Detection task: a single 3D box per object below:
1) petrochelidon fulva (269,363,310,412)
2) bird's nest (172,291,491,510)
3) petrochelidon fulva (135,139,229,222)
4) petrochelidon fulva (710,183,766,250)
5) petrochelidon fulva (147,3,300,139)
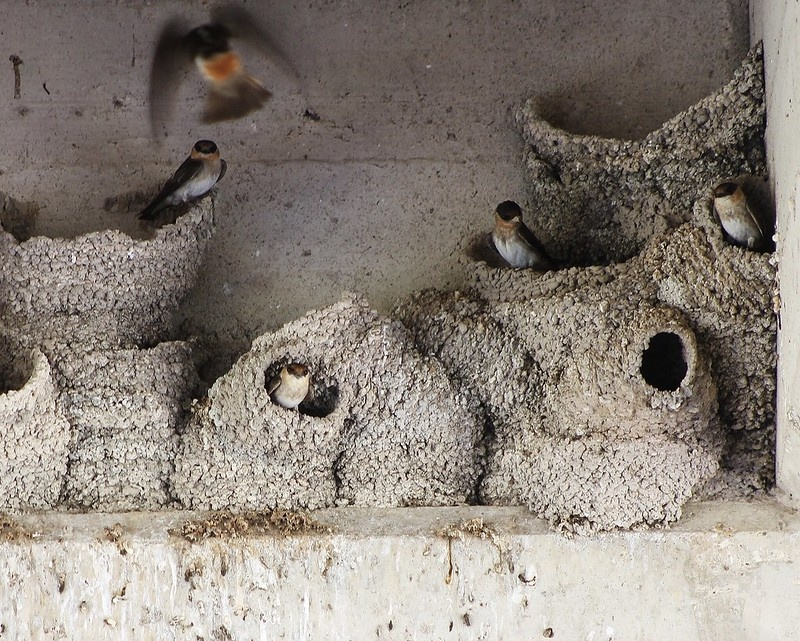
[{"bbox_3d":[-0.432,0.255,6.777,0.156,0.225,0.144,2,26,-5],"label":"petrochelidon fulva"},{"bbox_3d":[-0.258,0.365,6.898,1.213,0.835,0.392,-4,6,-11],"label":"bird's nest"},{"bbox_3d":[-0.909,-0.608,7.229,0.355,0.266,0.220,-4,9,27],"label":"petrochelidon fulva"},{"bbox_3d":[1.321,-0.391,6.787,0.156,0.279,0.168,-23,-3,16],"label":"petrochelidon fulva"},{"bbox_3d":[-0.806,-1.075,7.305,0.537,0.580,0.210,-15,16,-12],"label":"petrochelidon fulva"}]
